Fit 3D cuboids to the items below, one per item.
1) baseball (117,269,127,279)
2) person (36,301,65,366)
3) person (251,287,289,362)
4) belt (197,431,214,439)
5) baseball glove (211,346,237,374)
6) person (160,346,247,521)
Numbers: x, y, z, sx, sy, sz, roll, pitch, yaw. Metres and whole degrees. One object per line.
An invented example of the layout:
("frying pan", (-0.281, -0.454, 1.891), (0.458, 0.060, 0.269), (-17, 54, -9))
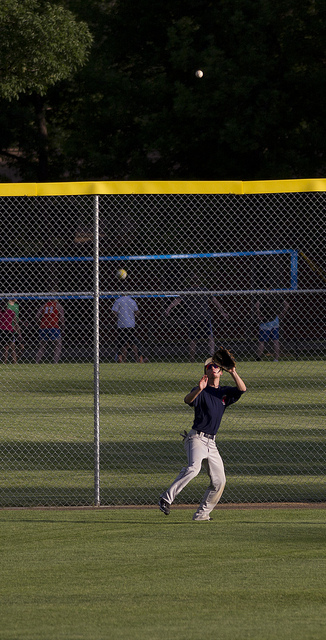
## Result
("baseball", (-0.710, -0.801, 21.983), (0.168, 0.233, 0.180), (-1, 1, 33))
("person", (-2.049, 0.250, 22.730), (0.438, 0.424, 1.402), (-2, 53, -8))
("person", (1.986, 0.158, 22.986), (0.498, 1.519, 0.403), (3, 36, 6))
("belt", (0.337, 0.891, 9.776), (0.137, 0.067, 0.031), (-3, 6, -23))
("baseball glove", (0.467, 0.313, 9.693), (0.171, 0.190, 0.191), (0, 6, 3))
("person", (0.319, 0.913, 9.811), (0.646, 1.407, 0.377), (0, 6, 8))
